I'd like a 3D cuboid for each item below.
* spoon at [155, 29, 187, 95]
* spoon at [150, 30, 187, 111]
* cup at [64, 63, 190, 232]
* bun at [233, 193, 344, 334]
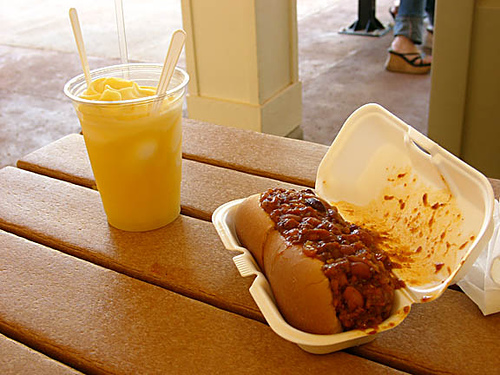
[{"bbox_3d":[-0.104,-0.157,0.527,0.016,0.139,0.013,-3,76,-24],"label":"spoon"},{"bbox_3d":[-0.120,-0.121,0.566,0.023,0.202,0.014,18,48,-11],"label":"spoon"},{"bbox_3d":[-0.188,-0.051,0.628,0.192,0.212,0.162,-17,30,-33],"label":"cup"},{"bbox_3d":[0.039,0.089,0.493,0.071,0.048,0.157,15,28,-45],"label":"bun"}]
